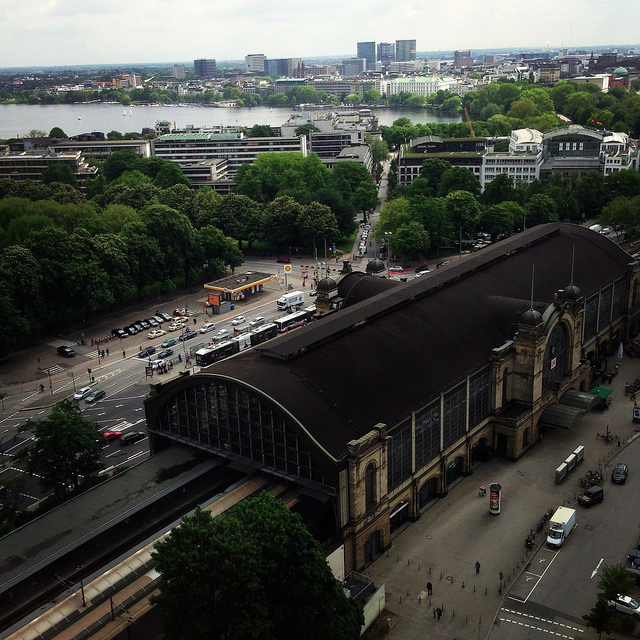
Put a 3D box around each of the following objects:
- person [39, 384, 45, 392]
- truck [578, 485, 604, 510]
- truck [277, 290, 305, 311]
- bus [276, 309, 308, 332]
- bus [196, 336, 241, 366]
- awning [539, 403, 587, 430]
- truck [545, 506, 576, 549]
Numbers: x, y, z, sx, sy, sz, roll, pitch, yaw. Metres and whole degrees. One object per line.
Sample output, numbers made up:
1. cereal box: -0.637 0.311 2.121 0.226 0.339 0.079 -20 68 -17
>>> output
1. person: -40.528 9.909 110.920 0.422 0.307 1.293 -24 45 13
2. truck: 27.112 17.894 76.852 2.824 1.299 1.520 -13 16 -36
3. truck: -5.192 -3.828 141.305 6.356 2.668 2.280 -17 24 -39
4. bus: -4.893 0.330 128.861 2.179 1.822 6.693 19 28 39
5. bus: -15.519 4.963 116.483 2.588 2.143 8.135 2 10 40
6. awning: 27.899 11.275 88.249 4.026 1.558 4.396 9 23 34
7. truck: 22.389 19.289 70.891 1.941 1.932 3.932 12 38 34
